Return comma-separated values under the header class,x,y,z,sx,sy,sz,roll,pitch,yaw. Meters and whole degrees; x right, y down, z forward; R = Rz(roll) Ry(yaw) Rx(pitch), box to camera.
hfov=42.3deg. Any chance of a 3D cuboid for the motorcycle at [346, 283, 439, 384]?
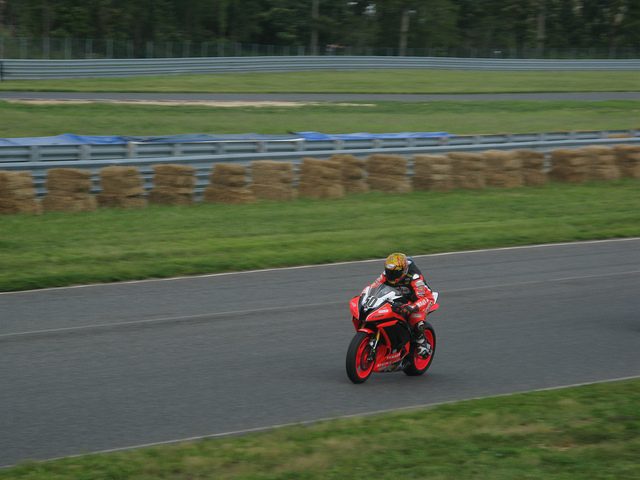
class,x,y,z,sx,sy,sz,roll,pitch,yaw
motorcycle,0.831,1.226,10.883,1.264,1.286,0.435,-3,11,-34
